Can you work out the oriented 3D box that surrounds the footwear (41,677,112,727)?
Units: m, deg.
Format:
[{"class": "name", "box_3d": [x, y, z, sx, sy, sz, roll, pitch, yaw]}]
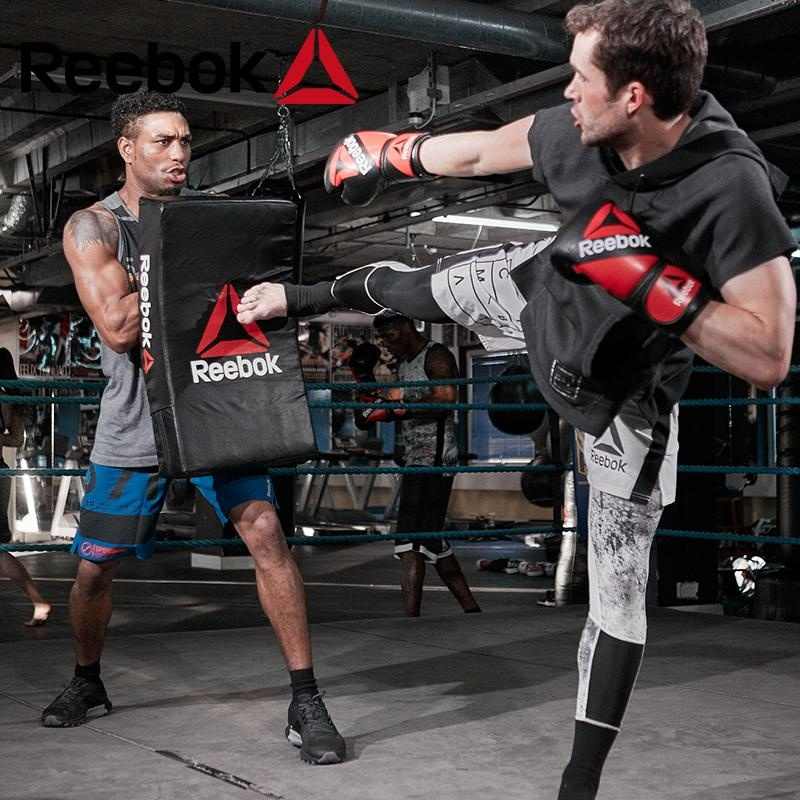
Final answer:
[{"class": "footwear", "box_3d": [-0.847, 0.799, 2.300, 0.097, 0.068, 0.187, -5, -7, 24]}]

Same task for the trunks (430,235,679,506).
[{"class": "trunks", "box_3d": [0.295, -0.049, 1.660, 0.439, 0.542, 0.216, 1, -27, 47]}]

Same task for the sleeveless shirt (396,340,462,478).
[{"class": "sleeveless shirt", "box_3d": [0.131, 0.077, 4.641, 0.372, 0.520, 0.315, 4, -7, -13]}]

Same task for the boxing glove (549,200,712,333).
[{"class": "boxing glove", "box_3d": [0.333, -0.205, 1.405, 0.295, 0.160, 0.095, 31, -15, 17]}]

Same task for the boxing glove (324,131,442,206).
[{"class": "boxing glove", "box_3d": [-0.054, -0.484, 1.910, 0.254, 0.083, 0.152, -5, 39, 36]}]

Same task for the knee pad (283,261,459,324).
[{"class": "knee pad", "box_3d": [-0.068, -0.207, 1.706, 0.272, 0.054, 0.157, 3, 19, 27]}]

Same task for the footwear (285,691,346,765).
[{"class": "footwear", "box_3d": [-0.213, 0.764, 2.011, 0.098, 0.077, 0.214, 0, -2, -28]}]

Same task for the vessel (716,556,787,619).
[{"class": "vessel", "box_3d": [2.373, 1.132, 5.781, 0.279, 0.413, 0.415, -3, 9, -27]}]
